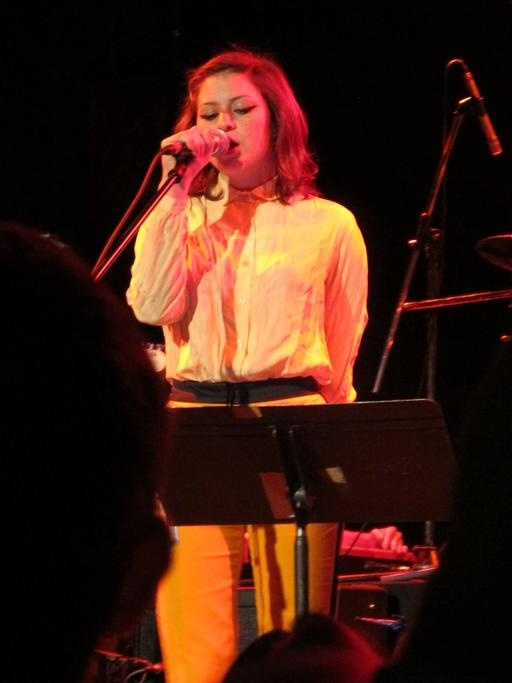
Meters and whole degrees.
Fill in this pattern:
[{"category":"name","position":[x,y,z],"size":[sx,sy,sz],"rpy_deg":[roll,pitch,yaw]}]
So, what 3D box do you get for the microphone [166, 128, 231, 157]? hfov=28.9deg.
[{"category":"microphone","position":[-0.115,-0.418,2.130],"size":[0.172,0.049,0.054],"rpy_deg":[-4,21,-45]}]
